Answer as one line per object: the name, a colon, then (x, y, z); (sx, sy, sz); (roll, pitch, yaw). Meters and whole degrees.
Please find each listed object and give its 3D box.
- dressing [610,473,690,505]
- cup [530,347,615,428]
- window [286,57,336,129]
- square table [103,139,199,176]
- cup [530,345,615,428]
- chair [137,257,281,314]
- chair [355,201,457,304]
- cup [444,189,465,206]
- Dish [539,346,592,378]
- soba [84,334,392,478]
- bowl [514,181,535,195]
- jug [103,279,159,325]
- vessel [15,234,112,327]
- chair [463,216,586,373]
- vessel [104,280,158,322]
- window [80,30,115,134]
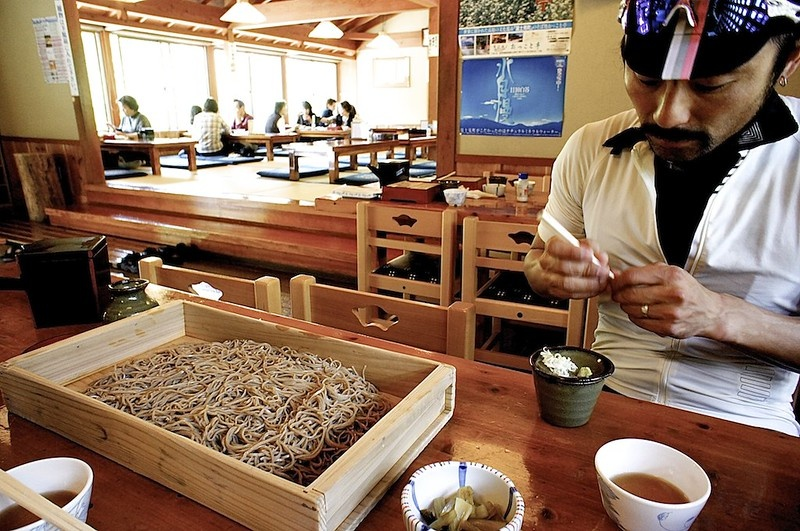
dressing: (0.514, 0.454, 1.064); (0.072, 0.025, 0.069); (4, 7, 7)
cup: (0.410, 0.287, 1.329); (0.204, 0.140, 0.198); (-3, 16, 1)
window: (-2.694, -5.277, 15.982); (0.137, 1.901, 2.765); (12, 22, 24)
square table: (-3.834, -1.636, 7.966); (1.027, 0.231, 0.444); (10, 29, 20)
cup: (0.425, 0.302, 1.294); (0.208, 0.139, 0.194); (-5, 15, 1)
chair: (-0.869, 0.081, 2.450); (0.272, 0.158, 0.149); (15, 40, 14)
chair: (0.046, -0.093, 3.238); (0.526, 0.902, 0.529); (8, 20, 22)
cup: (0.356, -0.432, 3.309); (0.127, 0.080, 0.119); (-3, 16, 1)
Dish: (0.406, 0.237, 1.287); (0.070, 0.025, 0.067); (9, 18, 8)
soba: (-0.435, 0.339, 1.348); (0.530, 0.072, 0.362); (7, 20, 25)
bowl: (0.823, -0.502, 3.451); (0.143, 0.085, 0.135); (-2, 25, 1)
jug: (-0.866, 0.112, 1.736); (0.161, 0.140, 0.153); (-4, 7, -8)
vessel: (-1.177, 0.058, 1.941); (0.343, 0.244, 0.341); (-7, 9, -28)
chair: (0.775, 0.204, 3.087); (0.725, 1.049, 0.744); (4, 8, 26)
vessel: (-0.856, 0.110, 1.727); (0.157, 0.137, 0.149); (-4, 6, -7)
window: (-6.114, -3.657, 10.463); (0.499, 1.853, 0.377); (11, 25, 31)
